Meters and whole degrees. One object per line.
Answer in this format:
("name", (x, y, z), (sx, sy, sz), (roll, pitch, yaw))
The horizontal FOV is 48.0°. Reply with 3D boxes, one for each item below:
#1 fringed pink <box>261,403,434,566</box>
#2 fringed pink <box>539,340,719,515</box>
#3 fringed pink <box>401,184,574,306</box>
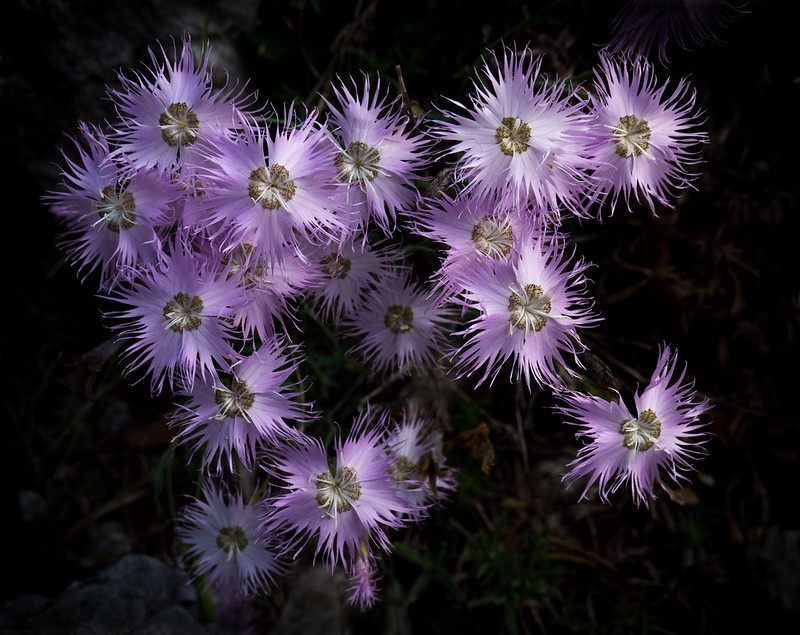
("fringed pink", (-0.163, 0.312, 2.084), (0.373, 0.422, 0.140), (18, 93, 18))
("fringed pink", (0.587, 0.177, 2.066), (0.328, 0.317, 0.149), (-17, 100, -29))
("fringed pink", (0.208, -0.228, 2.056), (0.361, 0.427, 0.130), (0, 85, 15))
